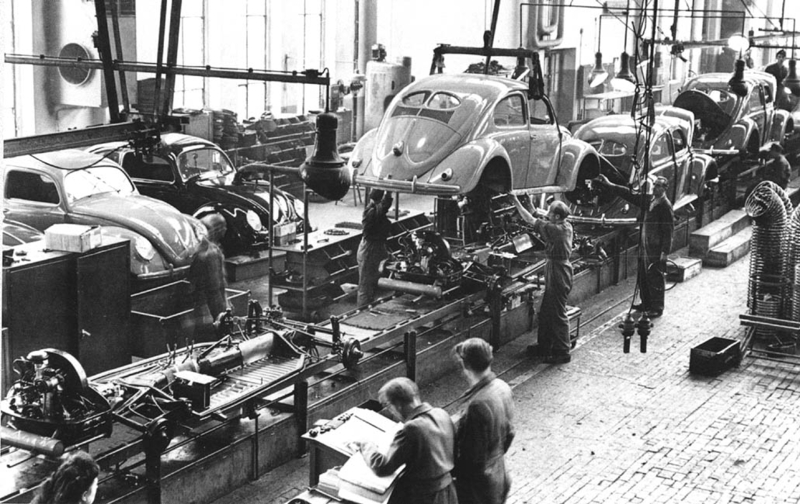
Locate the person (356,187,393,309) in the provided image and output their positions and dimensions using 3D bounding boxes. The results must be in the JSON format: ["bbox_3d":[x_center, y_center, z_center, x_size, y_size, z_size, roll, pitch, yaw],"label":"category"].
[{"bbox_3d":[-0.472,-0.045,17.562,0.573,1.995,0.695,1,14,1],"label":"person"}]

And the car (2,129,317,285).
[{"bbox_3d":[-3.645,-0.886,20.028,3.168,2.491,2.040,8,16,29],"label":"car"}]

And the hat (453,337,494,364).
[{"bbox_3d":[0.817,1.134,11.700,0.299,0.345,0.343,1,-23,1],"label":"hat"}]

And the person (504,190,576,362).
[{"bbox_3d":[2.387,0.460,16.703,0.811,2.532,0.574,10,17,35],"label":"person"}]
